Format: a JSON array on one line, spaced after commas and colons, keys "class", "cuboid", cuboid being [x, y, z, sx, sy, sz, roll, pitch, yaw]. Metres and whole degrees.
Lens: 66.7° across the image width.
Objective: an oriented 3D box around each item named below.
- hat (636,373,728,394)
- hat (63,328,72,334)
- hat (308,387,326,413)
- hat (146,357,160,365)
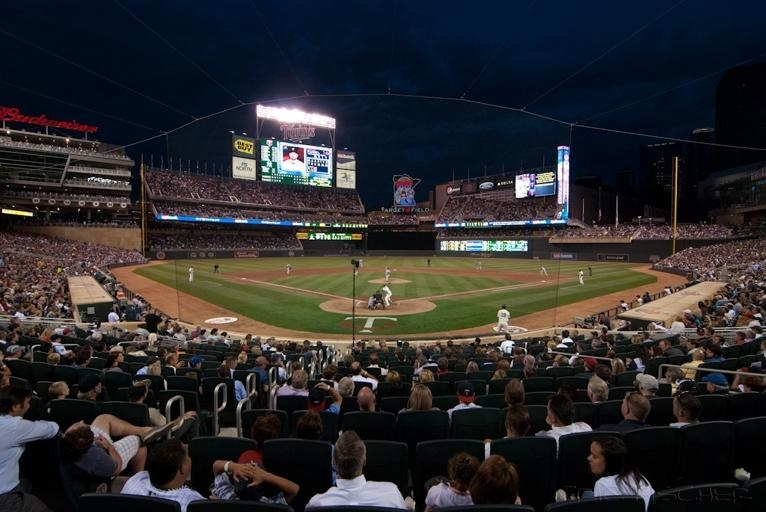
[{"class": "hat", "cuboid": [6.549, 2.765, 12.737, 1.173, 0.334, 1.037, 0, -1, -11]}, {"class": "hat", "cuboid": [-10.447, 2.505, 19.250, 0.228, 0.218, 0.254, 2, 11, -3]}, {"class": "hat", "cuboid": [-1.281, 2.848, 11.589, 0.361, 0.434, 0.170, 1, -39, -1]}, {"class": "hat", "cuboid": [-5.421, 2.474, 13.787, 0.264, 0.201, 0.202, -2, 5, -29]}]
